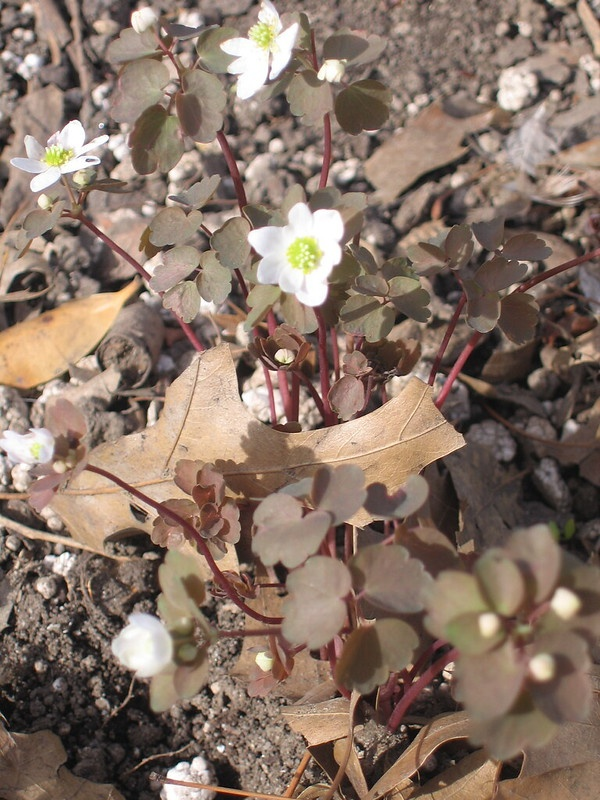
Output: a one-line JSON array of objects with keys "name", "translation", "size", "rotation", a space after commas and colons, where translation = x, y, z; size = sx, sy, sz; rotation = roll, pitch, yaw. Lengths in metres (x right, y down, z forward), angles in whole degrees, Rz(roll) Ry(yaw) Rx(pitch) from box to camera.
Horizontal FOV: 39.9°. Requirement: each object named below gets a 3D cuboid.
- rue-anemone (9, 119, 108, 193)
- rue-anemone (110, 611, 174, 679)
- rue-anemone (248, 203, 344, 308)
[{"name": "rue-anemone", "translation": [-0.540, -0.545, 1.847], "size": [0.177, 0.178, 0.075], "rotation": [-12, 84, 21]}, {"name": "rue-anemone", "translation": [-0.237, 0.369, 1.258], "size": [0.079, 0.087, 0.079], "rotation": [36, 64, 30]}, {"name": "rue-anemone", "translation": [-0.006, -0.270, 1.511], "size": [0.174, 0.140, 0.139], "rotation": [4, 52, 11]}]
